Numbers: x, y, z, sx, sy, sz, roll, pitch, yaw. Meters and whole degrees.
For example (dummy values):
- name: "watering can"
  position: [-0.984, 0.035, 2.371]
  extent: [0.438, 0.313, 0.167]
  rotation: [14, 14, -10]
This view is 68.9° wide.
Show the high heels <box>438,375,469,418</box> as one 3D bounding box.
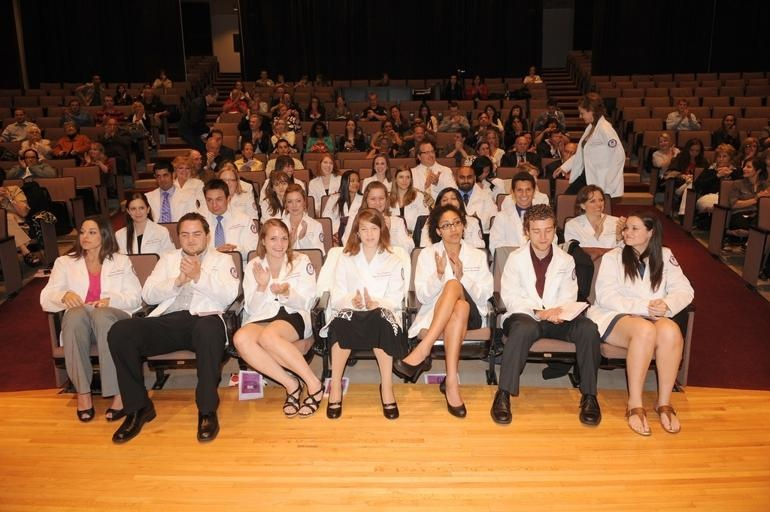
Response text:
- name: "high heels"
  position: [0.601, 1.262, 5.007]
  extent: [0.130, 0.160, 0.394]
  rotation: [-5, 33, -21]

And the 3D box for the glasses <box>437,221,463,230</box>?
- name: "glasses"
  position: [0.593, -0.283, 5.097]
  extent: [0.228, 0.099, 0.143]
  rotation: [1, 10, 9]

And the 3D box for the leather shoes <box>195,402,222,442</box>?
- name: "leather shoes"
  position: [-1.479, 1.425, 4.715]
  extent: [0.112, 0.146, 0.335]
  rotation: [0, 8, -3]

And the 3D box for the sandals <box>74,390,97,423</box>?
- name: "sandals"
  position: [-2.624, 1.326, 4.921]
  extent: [0.101, 0.241, 0.328]
  rotation: [0, 0, -26]

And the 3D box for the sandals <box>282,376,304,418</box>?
- name: "sandals"
  position: [-0.814, 1.246, 4.960]
  extent: [0.126, 0.112, 0.364]
  rotation: [-2, 30, 1]

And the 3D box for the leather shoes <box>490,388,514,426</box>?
- name: "leather shoes"
  position: [1.013, 1.284, 4.851]
  extent: [0.174, 0.266, 0.209]
  rotation: [2, 10, 12]

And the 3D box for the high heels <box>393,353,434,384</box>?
- name: "high heels"
  position: [0.270, 1.027, 5.080]
  extent: [0.163, 0.209, 0.498]
  rotation: [36, 0, 22]

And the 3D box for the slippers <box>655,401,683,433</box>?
- name: "slippers"
  position: [2.401, 1.362, 4.738]
  extent: [0.108, 0.098, 0.298]
  rotation: [-17, 28, 10]

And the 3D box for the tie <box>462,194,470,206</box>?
- name: "tie"
  position: [1.052, -0.720, 7.203]
  extent: [0.109, 0.158, 0.038]
  rotation: [0, -8, -5]

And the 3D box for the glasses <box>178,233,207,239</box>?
- name: "glasses"
  position: [-1.742, -0.190, 5.140]
  extent: [0.248, 0.059, 0.100]
  rotation: [-5, 11, -27]

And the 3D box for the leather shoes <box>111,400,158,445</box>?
- name: "leather shoes"
  position: [-2.104, 1.407, 4.837]
  extent: [0.144, 0.191, 0.436]
  rotation: [8, 23, 24]

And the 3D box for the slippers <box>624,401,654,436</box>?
- name: "slippers"
  position: [2.160, 1.373, 4.761]
  extent: [0.189, 0.214, 0.221]
  rotation: [2, 10, 13]

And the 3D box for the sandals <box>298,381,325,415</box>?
- name: "sandals"
  position: [-0.637, 1.267, 4.896]
  extent: [0.133, 0.104, 0.357]
  rotation: [2, 29, 8]

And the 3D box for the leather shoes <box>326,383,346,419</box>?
- name: "leather shoes"
  position: [-0.441, 1.310, 4.897]
  extent: [0.135, 0.169, 0.143]
  rotation: [-2, 10, -6]

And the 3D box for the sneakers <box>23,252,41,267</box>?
- name: "sneakers"
  position: [-4.662, 0.047, 7.497]
  extent: [0.337, 0.160, 0.127]
  rotation: [9, 22, 33]

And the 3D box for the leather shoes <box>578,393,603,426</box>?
- name: "leather shoes"
  position: [1.763, 1.312, 4.803]
  extent: [0.123, 0.121, 0.327]
  rotation: [1, 13, 10]

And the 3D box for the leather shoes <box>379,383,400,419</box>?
- name: "leather shoes"
  position: [0.047, 1.254, 4.946]
  extent: [0.162, 0.264, 0.259]
  rotation: [-1, 10, -1]

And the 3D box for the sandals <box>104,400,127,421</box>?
- name: "sandals"
  position: [-2.377, 1.362, 4.957]
  extent: [0.127, 0.086, 0.233]
  rotation: [0, 18, -4]
